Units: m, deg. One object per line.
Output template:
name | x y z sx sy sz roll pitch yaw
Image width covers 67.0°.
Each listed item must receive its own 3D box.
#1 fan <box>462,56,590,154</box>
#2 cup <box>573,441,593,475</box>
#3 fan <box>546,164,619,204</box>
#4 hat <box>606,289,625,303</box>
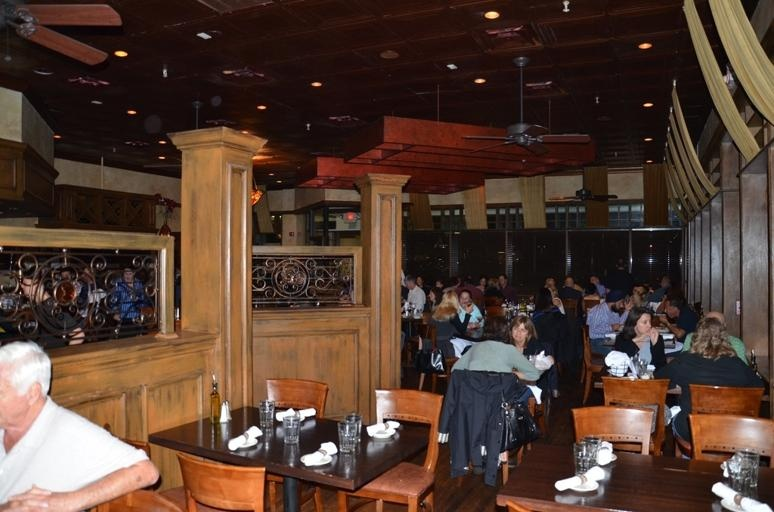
fan | 1.935 -2.158 8.229 1.783 1.111 1.773 4 6 44
cup | 1.308 1.319 3.829 0.128 0.218 0.115 -2 -3 18
fan | 5.008 -1.789 14.547 1.325 0.577 1.266 1 -5 -7
hat | 4.037 0.712 10.198 0.286 0.246 0.192 -13 10 5
